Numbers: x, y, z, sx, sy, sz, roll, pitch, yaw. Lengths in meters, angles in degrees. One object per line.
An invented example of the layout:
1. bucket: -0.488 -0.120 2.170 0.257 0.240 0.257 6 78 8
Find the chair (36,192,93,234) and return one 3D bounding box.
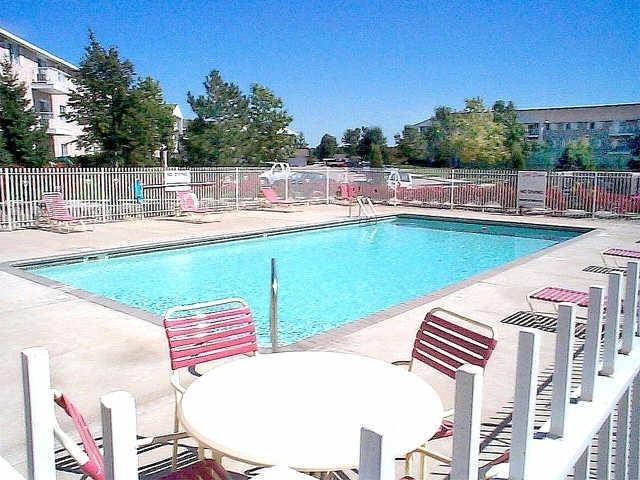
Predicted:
1. chair: -8.245 -0.825 15.750 1.009 0.784 1.573 3 -7 -1

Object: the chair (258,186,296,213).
1. chair: -2.115 -1.870 23.243 1.289 0.673 2.022 -13 24 -42
